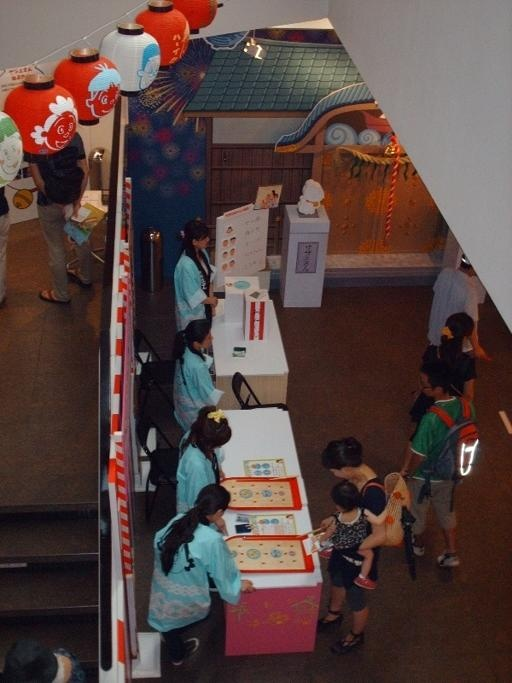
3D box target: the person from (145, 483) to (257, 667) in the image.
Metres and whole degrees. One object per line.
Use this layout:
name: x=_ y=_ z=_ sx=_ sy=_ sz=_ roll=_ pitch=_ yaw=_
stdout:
person: x=-0.360 y=1.567 z=3.363 sx=0.657 sy=1.592 sz=0.432 roll=-2 pitch=27 yaw=-4

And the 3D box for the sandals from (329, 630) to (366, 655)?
sandals: x=0.671 y=2.196 z=3.844 sx=0.295 sy=0.113 sz=0.103 roll=-22 pitch=-2 yaw=-1

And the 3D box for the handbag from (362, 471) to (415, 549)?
handbag: x=0.887 y=1.142 z=3.463 sx=0.137 sy=0.548 sz=0.345 roll=1 pitch=5 yaw=-8

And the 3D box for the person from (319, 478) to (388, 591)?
person: x=0.601 y=1.231 z=3.503 sx=0.415 sy=0.693 sz=0.337 roll=11 pitch=30 yaw=43

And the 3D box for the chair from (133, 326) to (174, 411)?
chair: x=-1.126 y=0.328 z=5.754 sx=0.641 sy=0.848 sz=0.470 roll=0 pitch=56 yaw=-4

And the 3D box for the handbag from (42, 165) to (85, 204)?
handbag: x=-1.690 y=-1.367 z=4.560 sx=0.161 sy=0.198 sz=0.289 roll=15 pitch=35 yaw=24

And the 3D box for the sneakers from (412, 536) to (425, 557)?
sneakers: x=1.400 y=1.746 z=4.563 sx=0.082 sy=0.088 sz=0.211 roll=0 pitch=41 yaw=-1

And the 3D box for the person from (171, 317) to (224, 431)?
person: x=-0.518 y=0.313 z=4.708 sx=0.351 sy=1.114 sz=0.479 roll=-16 pitch=57 yaw=-17

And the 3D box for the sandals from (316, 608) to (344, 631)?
sandals: x=0.554 y=2.099 z=3.959 sx=0.269 sy=0.130 sz=0.091 roll=-15 pitch=37 yaw=-12

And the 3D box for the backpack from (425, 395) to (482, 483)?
backpack: x=1.464 y=0.777 z=3.988 sx=0.362 sy=0.665 sz=0.238 roll=-3 pitch=27 yaw=-7

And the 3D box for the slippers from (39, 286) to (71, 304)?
slippers: x=-1.990 y=-0.446 z=5.185 sx=0.265 sy=0.073 sz=0.135 roll=11 pitch=44 yaw=-3

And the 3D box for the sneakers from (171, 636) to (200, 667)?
sneakers: x=-0.505 y=2.211 z=3.709 sx=0.093 sy=0.099 sz=0.265 roll=9 pitch=29 yaw=6
